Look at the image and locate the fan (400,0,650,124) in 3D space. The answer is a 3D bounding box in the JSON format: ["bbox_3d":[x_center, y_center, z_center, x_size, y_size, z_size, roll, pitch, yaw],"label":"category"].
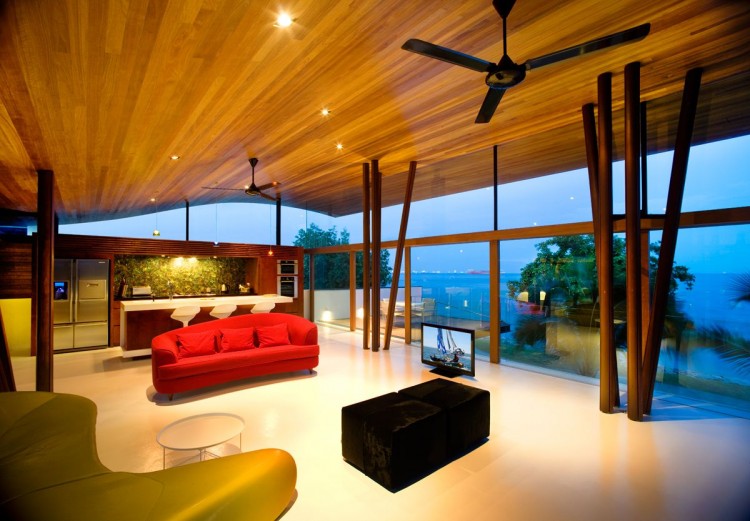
[{"bbox_3d":[1.436,-2.165,4.969,2.280,1.147,1.019,-2,-1,3],"label":"fan"}]

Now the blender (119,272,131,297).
[{"bbox_3d":[-5.117,0.503,9.732,0.220,0.459,0.265,-1,0,-27],"label":"blender"}]

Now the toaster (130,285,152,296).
[{"bbox_3d":[-4.762,0.614,9.763,0.349,0.198,0.328,-1,-1,-26],"label":"toaster"}]

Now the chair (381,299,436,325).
[{"bbox_3d":[0.742,0.989,9.378,0.744,0.426,0.666,1,-2,-34],"label":"chair"}]

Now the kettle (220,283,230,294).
[{"bbox_3d":[-3.467,0.622,11.060,0.223,0.232,0.224,2,-5,-24],"label":"kettle"}]

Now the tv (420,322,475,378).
[{"bbox_3d":[1.152,1.374,7.362,0.196,0.826,0.993,-1,-1,-44],"label":"tv"}]
